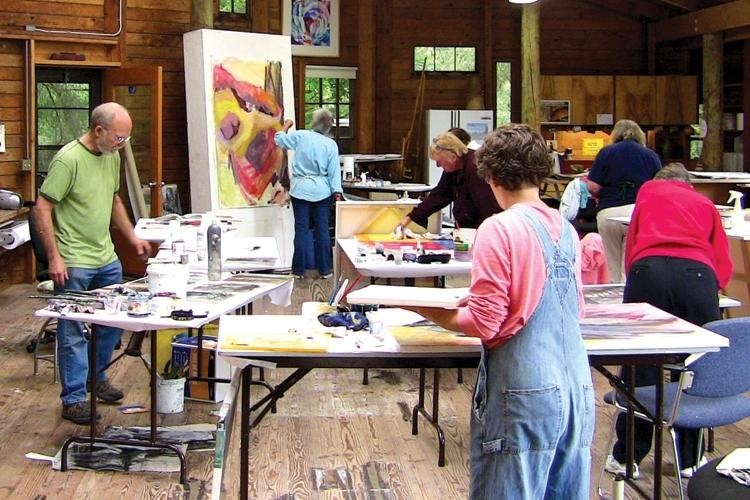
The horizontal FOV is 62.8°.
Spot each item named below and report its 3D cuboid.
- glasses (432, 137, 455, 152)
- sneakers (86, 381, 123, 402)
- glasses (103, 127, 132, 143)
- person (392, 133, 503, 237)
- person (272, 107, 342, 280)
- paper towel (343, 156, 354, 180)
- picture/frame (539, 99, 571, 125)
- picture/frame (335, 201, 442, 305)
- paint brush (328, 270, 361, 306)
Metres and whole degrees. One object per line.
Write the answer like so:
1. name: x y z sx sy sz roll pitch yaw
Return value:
1. glasses: 0.585 -0.897 5.319 0.147 0.153 0.123 -22 12 27
2. sneakers: -2.230 1.141 5.042 0.314 0.145 0.127 9 12 2
3. glasses: -1.948 -0.851 4.568 0.123 0.075 0.158 -4 10 -33
4. person: 0.586 -0.651 5.882 1.041 1.406 0.681 0 6 0
5. person: -0.932 -0.799 8.704 0.852 2.355 0.659 -2 10 -14
6. paper towel: -0.425 -1.300 9.709 0.164 0.366 0.327 1 10 3
7. picture/frame: 3.766 -2.864 12.716 0.623 0.419 0.445 0 3 3
8. picture/frame: 0.085 -0.075 5.858 1.114 1.070 0.775 -1 4 -18
9. paint brush: -0.248 0.284 4.148 0.127 0.227 0.054 27 17 -40
